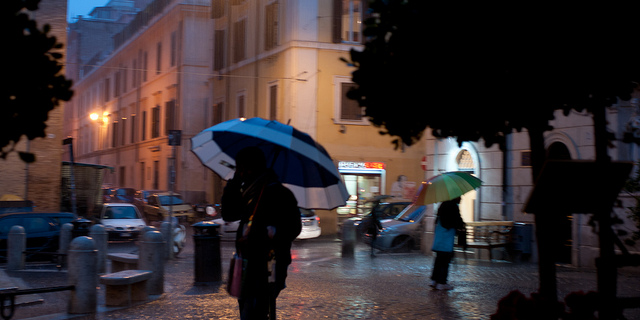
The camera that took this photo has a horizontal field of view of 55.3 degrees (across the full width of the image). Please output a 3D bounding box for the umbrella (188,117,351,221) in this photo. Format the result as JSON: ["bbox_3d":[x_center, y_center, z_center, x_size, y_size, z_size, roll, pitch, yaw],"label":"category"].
[{"bbox_3d":[-0.883,-0.023,13.040,3.043,2.030,2.310,16,-27,19],"label":"umbrella"}]

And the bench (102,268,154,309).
[{"bbox_3d":[-4.554,3.023,14.469,0.856,0.562,1.891,2,-2,14],"label":"bench"}]

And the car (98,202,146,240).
[{"bbox_3d":[-8.797,2.733,27.192,1.845,1.560,1.961,1,-7,-18],"label":"car"}]

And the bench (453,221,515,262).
[{"bbox_3d":[5.738,2.794,21.111,2.436,1.138,0.792,-4,-10,26],"label":"bench"}]

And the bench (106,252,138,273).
[{"bbox_3d":[-5.218,2.727,16.414,0.642,0.365,0.977,5,-7,-42],"label":"bench"}]

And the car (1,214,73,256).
[{"bbox_3d":[-10.102,2.520,21.890,2.535,0.890,1.313,2,-7,-25],"label":"car"}]

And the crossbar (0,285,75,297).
[{"bbox_3d":[-5.966,2.806,13.119,0.439,0.111,1.495,-5,-7,33],"label":"crossbar"}]

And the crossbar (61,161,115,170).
[{"bbox_3d":[-14.228,0.345,38.127,3.368,0.283,0.479,2,3,-36],"label":"crossbar"}]

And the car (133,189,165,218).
[{"bbox_3d":[-10.620,2.549,38.198,1.476,0.974,2.421,-1,3,-24],"label":"car"}]

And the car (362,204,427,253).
[{"bbox_3d":[3.068,2.749,24.677,3.560,1.268,1.733,1,-2,-11],"label":"car"}]

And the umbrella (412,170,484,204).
[{"bbox_3d":[3.509,0.913,17.542,1.372,0.434,1.322,-25,9,-31],"label":"umbrella"}]

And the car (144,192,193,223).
[{"bbox_3d":[-8.493,2.695,35.056,2.303,1.781,2.822,2,-7,-21],"label":"car"}]

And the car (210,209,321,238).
[{"bbox_3d":[-2.453,2.966,27.649,5.529,1.310,2.087,2,-7,-3],"label":"car"}]
